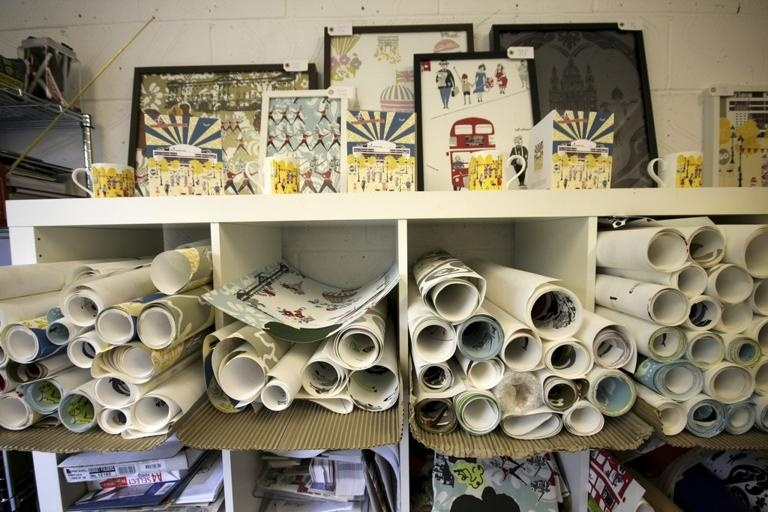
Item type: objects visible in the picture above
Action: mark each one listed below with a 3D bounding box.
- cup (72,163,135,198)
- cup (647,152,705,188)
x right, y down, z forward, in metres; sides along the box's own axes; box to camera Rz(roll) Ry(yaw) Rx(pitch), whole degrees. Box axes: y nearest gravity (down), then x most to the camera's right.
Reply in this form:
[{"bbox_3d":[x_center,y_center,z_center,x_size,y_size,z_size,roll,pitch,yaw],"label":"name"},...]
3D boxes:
[{"bbox_3d":[-1.019,-0.262,1.927,0.223,0.153,0.141,-2,-2,-17],"label":"cup"},{"bbox_3d":[1.039,-0.294,1.896,0.192,0.133,0.122,-2,-1,4],"label":"cup"}]
